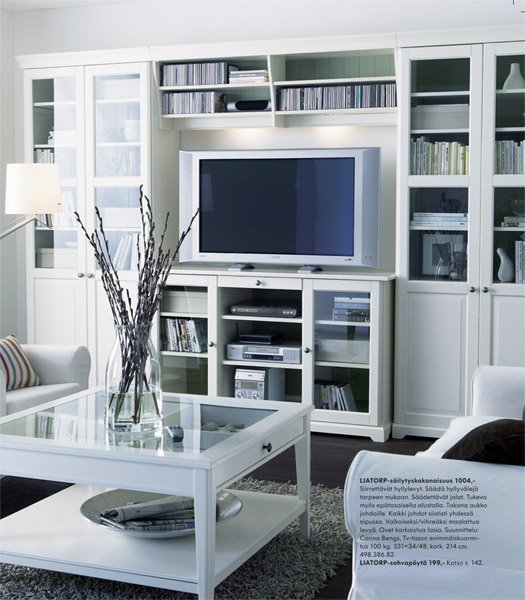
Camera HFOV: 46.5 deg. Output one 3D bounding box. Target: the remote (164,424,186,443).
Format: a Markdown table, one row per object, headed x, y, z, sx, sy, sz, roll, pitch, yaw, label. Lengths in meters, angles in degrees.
| x | y | z | sx | sy | sz | roll | pitch | yaw | label |
| --- | --- | --- | --- | --- | --- | --- | --- | --- | --- |
| -0.265 | 0.411 | 1.880 | 0.034 | 0.062 | 0.035 | -2 | -2 | 43 | remote |

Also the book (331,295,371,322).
| x | y | z | sx | sy | sz | roll | pitch | yaw | label |
| --- | --- | --- | --- | --- | --- | --- | --- | --- | --- |
| 0.541 | 0.037 | 3.716 | 0.256 | 0.183 | 0.139 | 1 | 1 | 26 | book |
